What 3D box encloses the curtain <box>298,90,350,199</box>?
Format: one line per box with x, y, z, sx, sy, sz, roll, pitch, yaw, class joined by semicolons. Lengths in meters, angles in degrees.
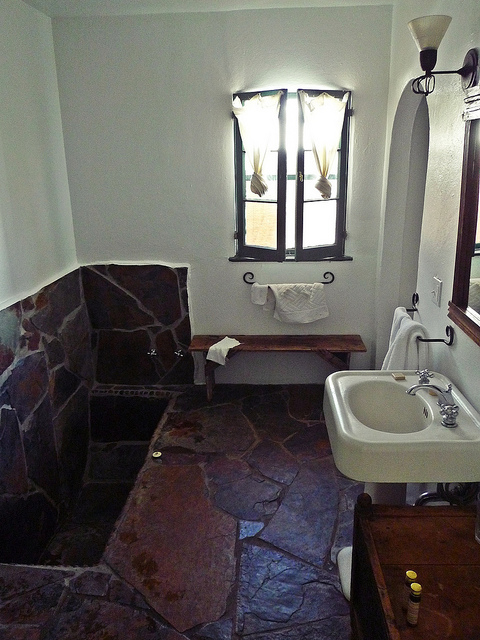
0.617;-1.316;3.335;0.365;0.769;0.156;2;11;12;curtain

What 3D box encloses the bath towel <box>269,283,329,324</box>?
0.508;-0.145;3.718;0.513;0.323;0.085;-1;11;-6;bath towel

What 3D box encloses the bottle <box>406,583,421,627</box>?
0.351;0.577;0.899;0.022;0.095;0.024;3;12;18;bottle

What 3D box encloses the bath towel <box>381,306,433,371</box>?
0.847;0.116;2.271;0.157;0.331;0.240;1;16;-5;bath towel

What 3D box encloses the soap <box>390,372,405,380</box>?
0.723;0.258;2.038;0.057;0.016;0.051;0;12;-2;soap
